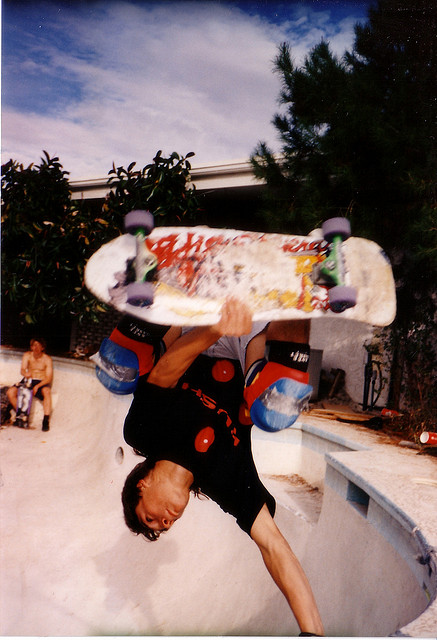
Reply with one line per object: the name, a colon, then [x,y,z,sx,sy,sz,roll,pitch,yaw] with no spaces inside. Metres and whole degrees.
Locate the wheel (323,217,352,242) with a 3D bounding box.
wheel: [0.463,-0.353,1.721,0.095,0.065,0.094,-1,-9,0]

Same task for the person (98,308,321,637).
person: [-0.096,0.556,2.133,1.087,1.084,0.555,29,-10,0]

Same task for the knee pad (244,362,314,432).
knee pad: [0.230,0.277,1.669,0.212,0.273,0.092,35,22,5]

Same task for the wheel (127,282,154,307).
wheel: [-0.292,-0.096,1.654,0.101,0.090,0.027,7,7,16]

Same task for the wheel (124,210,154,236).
wheel: [-0.302,-0.378,1.706,0.096,0.059,0.098,-3,-38,-2]

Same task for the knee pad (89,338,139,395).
knee pad: [-0.407,0.182,1.826,0.204,0.080,0.277,34,26,-3]
